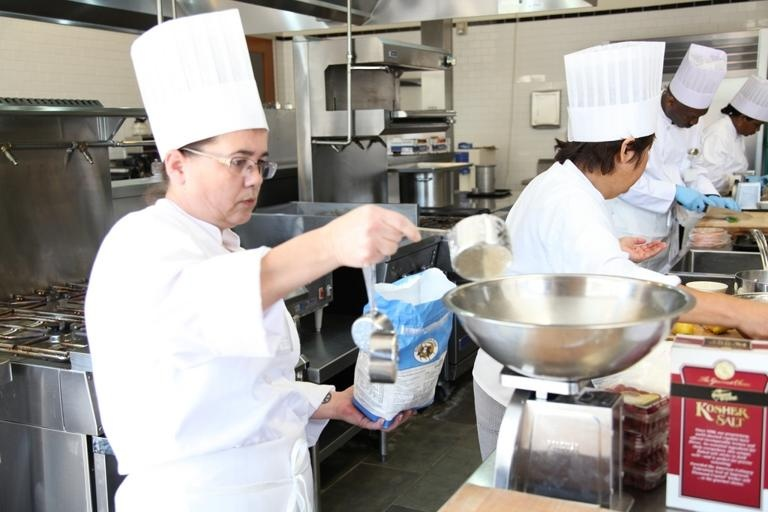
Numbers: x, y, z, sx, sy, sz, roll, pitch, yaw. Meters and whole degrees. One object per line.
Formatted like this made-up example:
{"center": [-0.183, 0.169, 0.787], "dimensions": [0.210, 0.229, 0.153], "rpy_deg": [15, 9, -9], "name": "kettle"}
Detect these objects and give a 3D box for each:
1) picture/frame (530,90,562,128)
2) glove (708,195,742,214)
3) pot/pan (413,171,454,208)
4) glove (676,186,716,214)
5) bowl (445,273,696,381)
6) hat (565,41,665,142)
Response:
{"center": [2.241, -2.025, 8.020], "dimensions": [0.550, 0.471, 0.479], "rpy_deg": [-1, 35, 12], "name": "picture/frame"}
{"center": [2.398, -0.367, 4.070], "dimensions": [0.173, 0.076, 0.273], "rpy_deg": [-6, 16, 1], "name": "glove"}
{"center": [0.505, -0.665, 5.717], "dimensions": [0.366, 0.383, 0.611], "rpy_deg": [4, 13, 27], "name": "pot/pan"}
{"center": [2.081, -0.353, 3.839], "dimensions": [0.089, 0.121, 0.369], "rpy_deg": [-12, -22, 42], "name": "glove"}
{"center": [0.375, 0.146, 1.166], "dimensions": [0.474, 0.133, 0.466], "rpy_deg": [-4, 10, 1], "name": "bowl"}
{"center": [0.760, -0.539, 2.077], "dimensions": [0.422, 0.324, 0.339], "rpy_deg": [-9, 7, -11], "name": "hat"}
